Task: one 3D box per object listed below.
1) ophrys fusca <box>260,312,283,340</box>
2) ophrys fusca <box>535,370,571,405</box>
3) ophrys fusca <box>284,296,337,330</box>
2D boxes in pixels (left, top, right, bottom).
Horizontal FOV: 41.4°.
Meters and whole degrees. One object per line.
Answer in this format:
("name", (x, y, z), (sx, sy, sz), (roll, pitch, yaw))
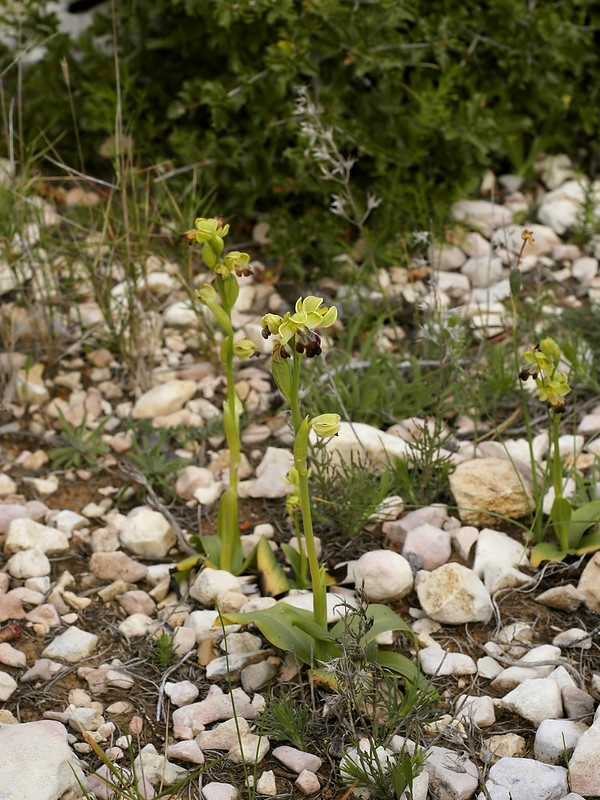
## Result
("ophrys fusca", (-0.054, -0.134, 1.426), (0.043, 0.046, 0.036), (2, 6, -9))
("ophrys fusca", (0.545, -0.025, 1.717), (0.070, 0.078, 0.041), (-18, 7, 32))
("ophrys fusca", (0.027, -0.153, 1.399), (0.085, 0.057, 0.035), (23, -4, -36))
